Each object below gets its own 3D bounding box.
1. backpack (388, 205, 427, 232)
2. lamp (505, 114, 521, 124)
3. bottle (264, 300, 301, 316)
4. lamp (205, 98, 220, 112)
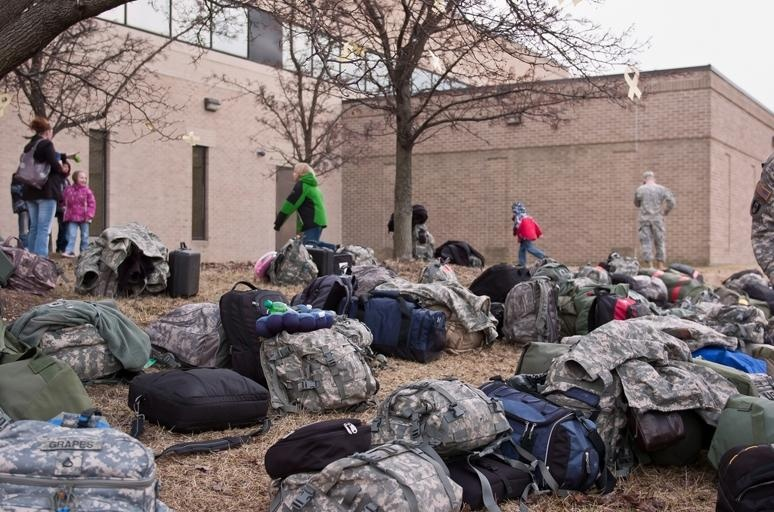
[{"bbox_3d":[0.505,-0.826,18.079,0.748,0.352,0.633,-15,2,21],"label":"backpack"},{"bbox_3d":[3.603,-3.876,23.407,0.513,0.355,0.290,2,6,23],"label":"lamp"},{"bbox_3d":[-1.240,0.610,9.518,0.291,0.115,0.207,5,3,1],"label":"bottle"},{"bbox_3d":[-4.507,-3.941,21.440,0.203,0.347,0.504,2,0,34],"label":"lamp"}]
